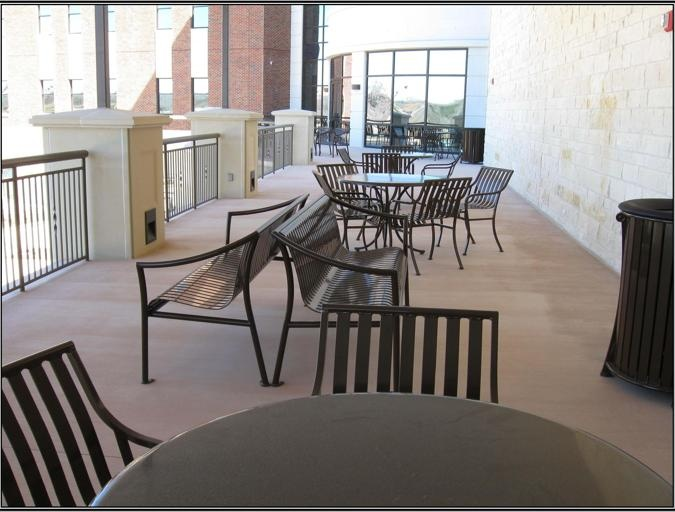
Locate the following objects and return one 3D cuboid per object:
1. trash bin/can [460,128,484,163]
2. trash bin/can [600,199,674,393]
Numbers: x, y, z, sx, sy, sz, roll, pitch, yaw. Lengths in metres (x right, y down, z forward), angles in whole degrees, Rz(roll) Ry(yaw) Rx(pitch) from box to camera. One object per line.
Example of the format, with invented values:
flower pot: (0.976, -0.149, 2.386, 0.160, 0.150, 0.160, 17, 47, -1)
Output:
trash bin/can: (5.394, -4.351, 18.326, 0.878, 1.289, 0.872, -1, 13, 0)
trash bin/can: (1.923, 0.273, 2.897, 0.177, 1.155, 0.418, -3, 11, -18)
